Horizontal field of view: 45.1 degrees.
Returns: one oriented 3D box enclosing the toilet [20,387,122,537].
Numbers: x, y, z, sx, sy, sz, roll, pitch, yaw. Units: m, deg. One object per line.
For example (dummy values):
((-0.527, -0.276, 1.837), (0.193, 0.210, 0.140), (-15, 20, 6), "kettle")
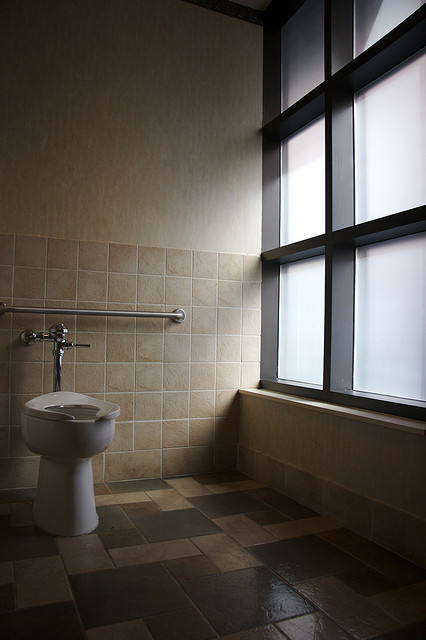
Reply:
((-0.542, 0.513, 1.897), (0.274, 0.479, 0.359), (1, 1, -40), "toilet")
